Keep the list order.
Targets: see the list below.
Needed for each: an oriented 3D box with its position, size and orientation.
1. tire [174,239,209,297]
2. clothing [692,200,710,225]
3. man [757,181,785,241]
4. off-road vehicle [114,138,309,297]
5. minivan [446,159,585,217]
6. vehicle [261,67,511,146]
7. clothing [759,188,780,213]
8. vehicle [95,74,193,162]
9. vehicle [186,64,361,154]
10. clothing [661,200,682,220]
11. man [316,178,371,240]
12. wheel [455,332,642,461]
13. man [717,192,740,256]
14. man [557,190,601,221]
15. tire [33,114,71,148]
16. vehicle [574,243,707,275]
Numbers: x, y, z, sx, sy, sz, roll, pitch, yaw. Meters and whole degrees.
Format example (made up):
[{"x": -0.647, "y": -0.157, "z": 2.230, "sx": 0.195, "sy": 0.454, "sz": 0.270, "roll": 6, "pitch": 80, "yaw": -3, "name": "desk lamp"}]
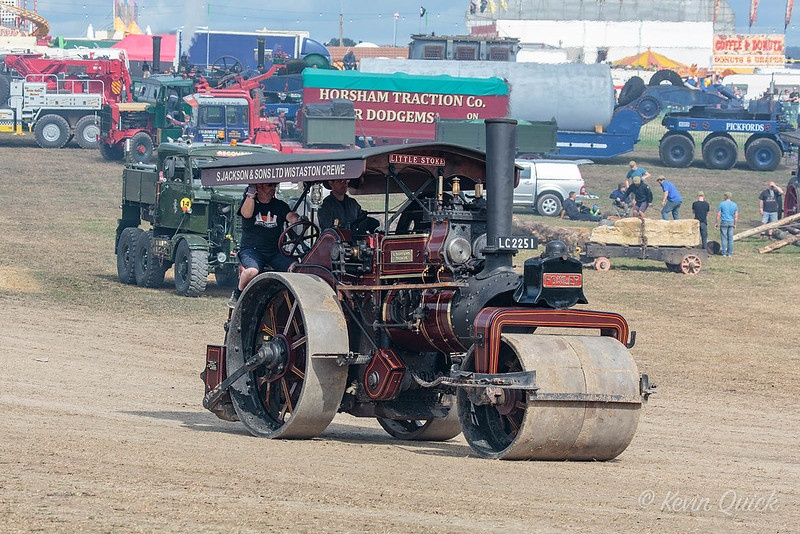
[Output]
[{"x": -5.992, "y": 0.036, "z": 48.884, "sx": 0.549, "sy": 1.674, "sz": 1.617, "roll": -2, "pitch": -8, "yaw": -34, "name": "tire"}, {"x": 9.555, "y": -1.707, "z": 54.869, "sx": 0.675, "sy": 0.939, "sz": 0.613, "roll": -1, "pitch": -6, "yaw": 3, "name": "clothing"}, {"x": 12.477, "y": -1.872, "z": 57.971, "sx": 0.797, "sy": 2.069, "sz": 0.689, "roll": 4, "pitch": -7, "yaw": 12, "name": "man"}, {"x": -5.795, "y": -1.394, "z": 50.610, "sx": 3.852, "sy": 4.243, "sz": 6.708, "roll": 1, "pitch": 3, "yaw": -29, "name": "off-road vehicle"}, {"x": 4.565, "y": -2.726, "z": 60.470, "sx": 3.820, "sy": 1.775, "sz": 2.224, "roll": 4, "pitch": 2, "yaw": -7, "name": "minivan"}, {"x": 0.498, "y": -5.856, "z": 68.453, "sx": 9.470, "sy": 4.055, "sz": 3.149, "roll": 4, "pitch": 3, "yaw": 27, "name": "vehicle"}, {"x": 12.465, "y": -2.217, "z": 57.967, "sx": 0.841, "sy": 0.897, "sz": 0.489, "roll": -1, "pitch": 3, "yaw": -1, "name": "clothing"}, {"x": -9.976, "y": -5.791, "z": 66.170, "sx": 4.223, "sy": 2.852, "sz": 2.631, "roll": 0, "pitch": 1, "yaw": -29, "name": "vehicle"}, {"x": -4.937, "y": -6.722, "z": 66.955, "sx": 5.906, "sy": 3.120, "sz": 4.211, "roll": 1, "pitch": 1, "yaw": -6, "name": "vehicle"}, {"x": 9.095, "y": -1.900, "z": 57.848, "sx": 0.427, "sy": 0.463, "sz": 1.307, "roll": -18, "pitch": 6, "yaw": -31, "name": "clothing"}, {"x": -1.356, "y": -1.416, "z": 40.084, "sx": 1.130, "sy": 1.738, "sz": 0.925, "roll": -1, "pitch": -4, "yaw": -22, "name": "man"}, {"x": 3.378, "y": 2.984, "z": 39.033, "sx": 3.199, "sy": 2.943, "sz": 2.819, "roll": 5, "pitch": -6, "yaw": -28, "name": "wheel"}, {"x": 10.496, "y": -1.344, "z": 55.293, "sx": 0.614, "sy": 2.065, "sz": 0.564, "roll": 3, "pitch": 4, "yaw": 11, "name": "man"}, {"x": 6.373, "y": -2.019, "z": 60.498, "sx": 1.166, "sy": 0.717, "sz": 1.023, "roll": 8, "pitch": 14, "yaw": 7, "name": "man"}, {"x": -13.982, "y": -5.479, "z": 68.897, "sx": 1.140, "sy": 1.258, "sz": 0.420, "roll": 0, "pitch": 9, "yaw": 0, "name": "tire"}, {"x": 7.494, "y": -0.307, "z": 53.103, "sx": 3.627, "sy": 0.903, "sz": 1.458, "roll": 4, "pitch": -5, "yaw": 4, "name": "vehicle"}]
